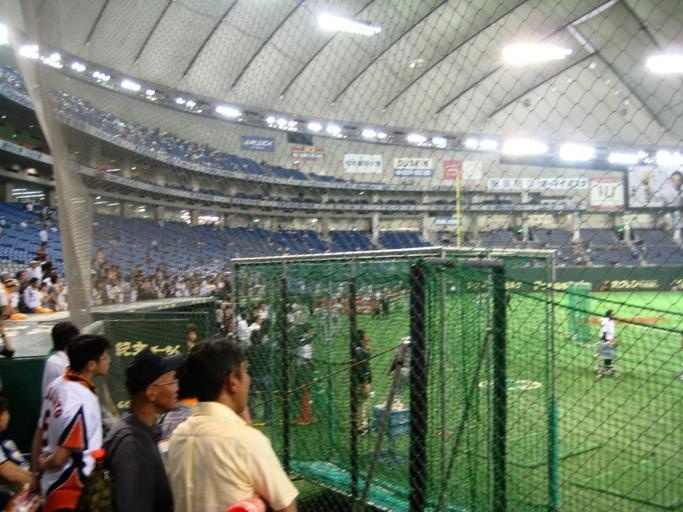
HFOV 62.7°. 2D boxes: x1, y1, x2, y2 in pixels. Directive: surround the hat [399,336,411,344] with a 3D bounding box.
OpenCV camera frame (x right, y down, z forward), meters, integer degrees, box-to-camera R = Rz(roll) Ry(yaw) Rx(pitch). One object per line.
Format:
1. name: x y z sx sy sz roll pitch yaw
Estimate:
1. hat: 0.447 0.582 3.886 0.061 0.023 0.073 -2 -1 11
